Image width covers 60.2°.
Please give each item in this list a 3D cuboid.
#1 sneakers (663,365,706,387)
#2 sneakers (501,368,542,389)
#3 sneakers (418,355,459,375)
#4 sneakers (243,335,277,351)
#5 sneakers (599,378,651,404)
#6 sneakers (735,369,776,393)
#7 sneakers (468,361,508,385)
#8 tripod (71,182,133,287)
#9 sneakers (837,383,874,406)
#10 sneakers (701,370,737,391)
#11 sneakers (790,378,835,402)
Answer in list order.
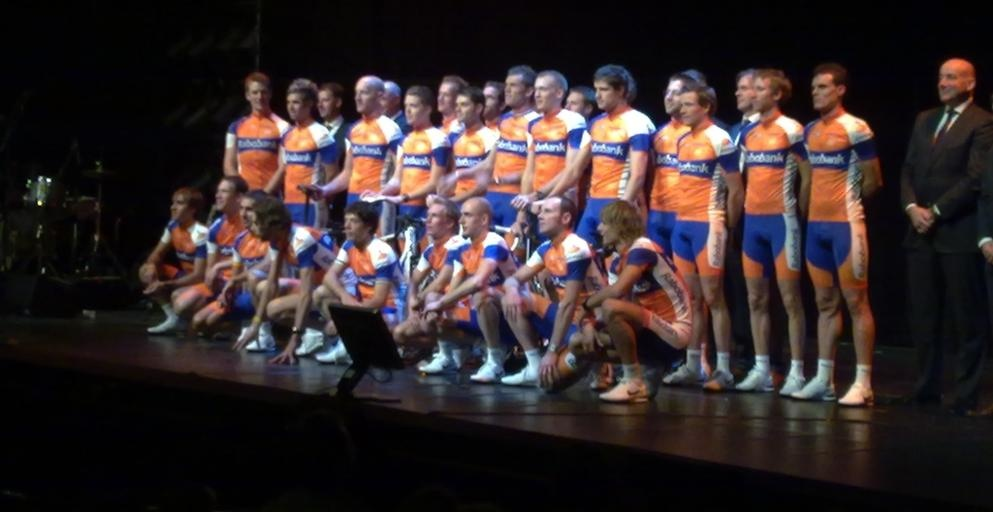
[{"bbox_3d":[1.812,1.153,8.155,0.488,0.161,0.157,1,3,-2],"label":"sneakers"},{"bbox_3d":[0.250,1.132,7.988,0.432,0.147,0.138,1,-3,2],"label":"sneakers"},{"bbox_3d":[-0.579,1.087,8.442,0.400,0.145,0.162,1,0,-13],"label":"sneakers"},{"bbox_3d":[-2.505,0.914,9.092,0.323,0.175,0.238,2,-2,-2],"label":"sneakers"},{"bbox_3d":[1.153,1.196,7.544,0.406,0.141,0.199,1,-4,-5],"label":"sneakers"},{"bbox_3d":[2.357,1.166,8.025,0.475,0.234,0.159,1,-2,3],"label":"sneakers"},{"bbox_3d":[-0.070,1.108,8.092,0.339,0.184,0.175,5,-8,-3],"label":"sneakers"},{"bbox_3d":[-5.173,-0.385,11.260,0.584,1.318,0.284,2,-3,12],"label":"tripod"},{"bbox_3d":[3.219,1.219,7.610,0.338,0.199,0.247,2,-2,8],"label":"sneakers"},{"bbox_3d":[2.072,1.170,8.003,0.137,0.115,0.370,-5,-7,35],"label":"sneakers"},{"bbox_3d":[2.898,1.224,7.791,0.438,0.157,0.166,0,-2,-2],"label":"sneakers"}]
